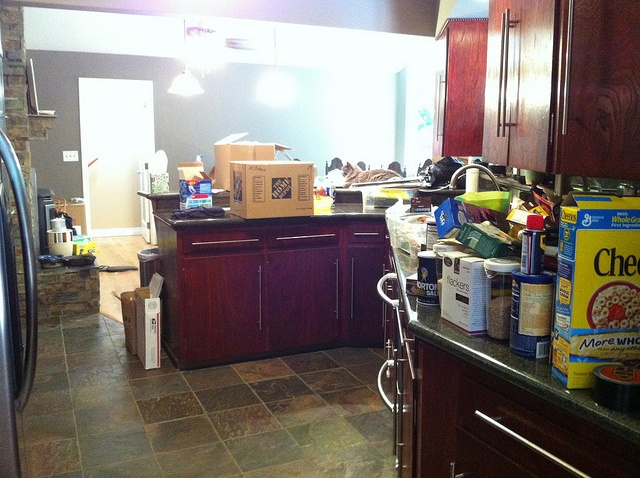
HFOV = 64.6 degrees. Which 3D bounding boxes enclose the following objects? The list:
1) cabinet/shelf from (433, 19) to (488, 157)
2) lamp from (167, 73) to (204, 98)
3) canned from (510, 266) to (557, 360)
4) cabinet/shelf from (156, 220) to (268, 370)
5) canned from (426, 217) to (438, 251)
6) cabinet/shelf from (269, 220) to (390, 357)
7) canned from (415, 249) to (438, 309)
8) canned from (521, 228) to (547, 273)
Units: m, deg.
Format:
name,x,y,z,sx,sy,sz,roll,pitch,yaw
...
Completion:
name,x,y,z,sx,sy,sz,roll,pitch,yaw
cabinet/shelf,0.910,-0.961,3.267,0.332,0.721,0.693,0,9,13
lamp,-1.650,-1.919,6.192,0.276,0.268,0.370,3,11,14
canned,0.537,0.190,1.275,0.115,0.190,0.117,4,3,7
cabinet/shelf,-0.719,0.301,3.779,0.956,1.355,0.857,-3,6,-25
canned,0.408,-0.016,1.860,0.038,0.111,0.098,1,11,8
cabinet/shelf,0.042,0.314,3.583,0.889,0.848,0.463,-2,5,-21
canned,0.347,0.129,1.635,0.071,0.174,0.072,2,11,13
canned,0.513,0.030,1.231,0.049,0.107,0.044,4,11,22
